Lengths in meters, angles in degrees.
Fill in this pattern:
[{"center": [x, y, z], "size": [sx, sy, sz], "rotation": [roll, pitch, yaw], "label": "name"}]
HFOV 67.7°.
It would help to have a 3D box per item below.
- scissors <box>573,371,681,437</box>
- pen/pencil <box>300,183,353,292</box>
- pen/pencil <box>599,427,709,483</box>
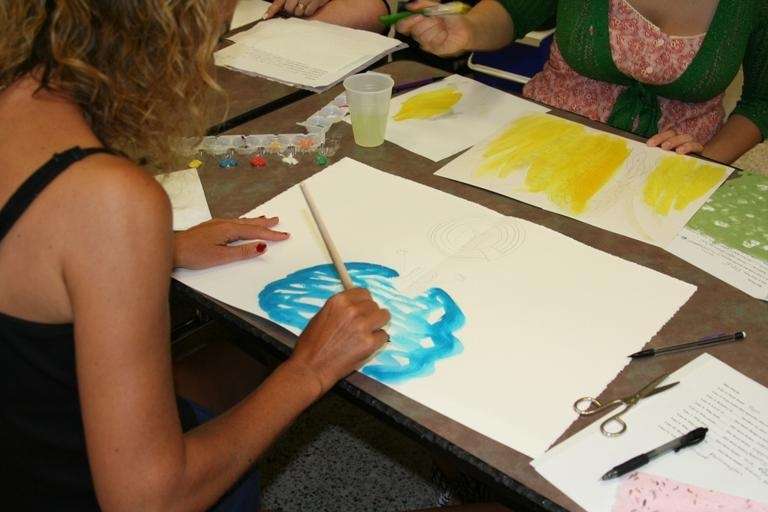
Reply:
[{"center": [0.363, 0.217, 0.860], "size": [0.126, 0.017, 0.073], "rotation": [-26, 45, -15], "label": "scissors"}, {"center": [-0.110, -0.029, 1.087], "size": [0.030, 0.028, 0.243], "rotation": [-31, 61, 10], "label": "pen/pencil"}, {"center": [0.385, 0.286, 0.813], "size": [0.148, 0.021, 0.016], "rotation": [-17, 62, -15], "label": "pen/pencil"}]
